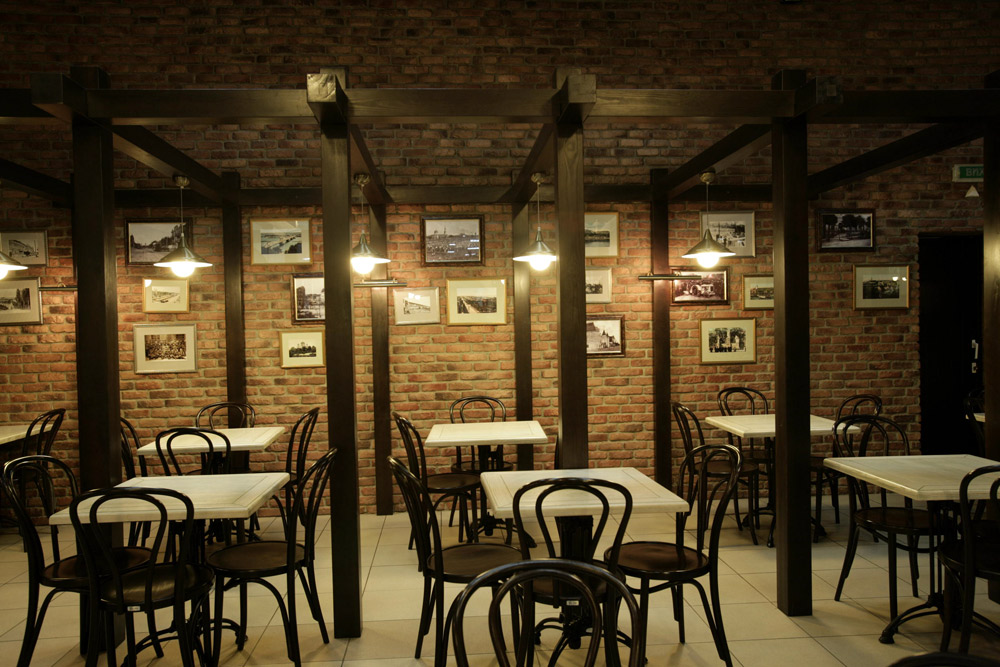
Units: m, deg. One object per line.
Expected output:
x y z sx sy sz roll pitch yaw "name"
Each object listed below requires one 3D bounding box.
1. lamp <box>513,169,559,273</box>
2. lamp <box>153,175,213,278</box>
0.346 -1.061 8.462 0.445 0.806 0.424 -5 11 -19 "lamp"
-3.061 -1.018 8.805 0.518 0.923 1.197 0 -1 -18 "lamp"
